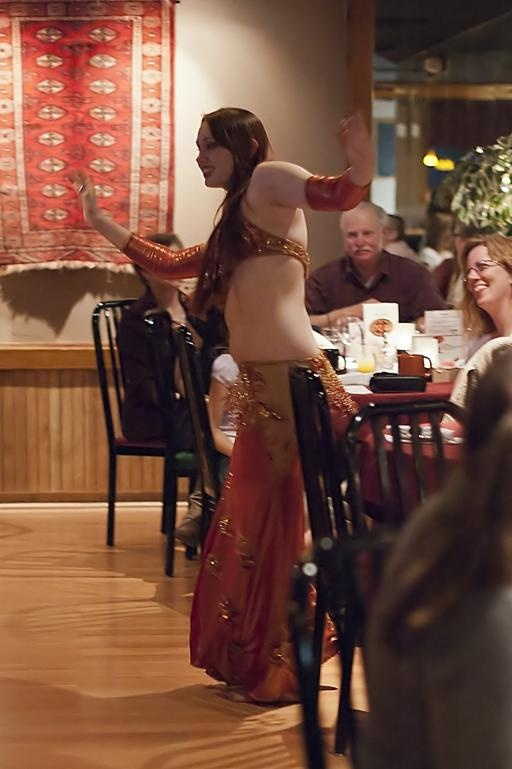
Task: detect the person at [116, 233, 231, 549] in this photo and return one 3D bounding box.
[{"bbox_3d":[-0.220,-0.110,2.893,0.541,0.906,0.319,-19,-23,14],"label":"person"}]

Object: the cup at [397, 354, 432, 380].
[{"bbox_3d":[0.547,-0.063,2.463,0.143,0.109,0.083,3,3,-2],"label":"cup"}]

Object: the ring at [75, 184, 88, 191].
[{"bbox_3d":[-0.528,-0.600,2.139,0.027,0.018,0.019,4,6,25],"label":"ring"}]

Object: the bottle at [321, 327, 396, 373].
[{"bbox_3d":[0.402,-0.138,2.725,0.270,0.095,0.178,2,3,28],"label":"bottle"}]

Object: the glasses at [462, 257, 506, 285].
[{"bbox_3d":[0.753,-0.392,2.364,0.099,0.031,0.096,19,-20,-33],"label":"glasses"}]
